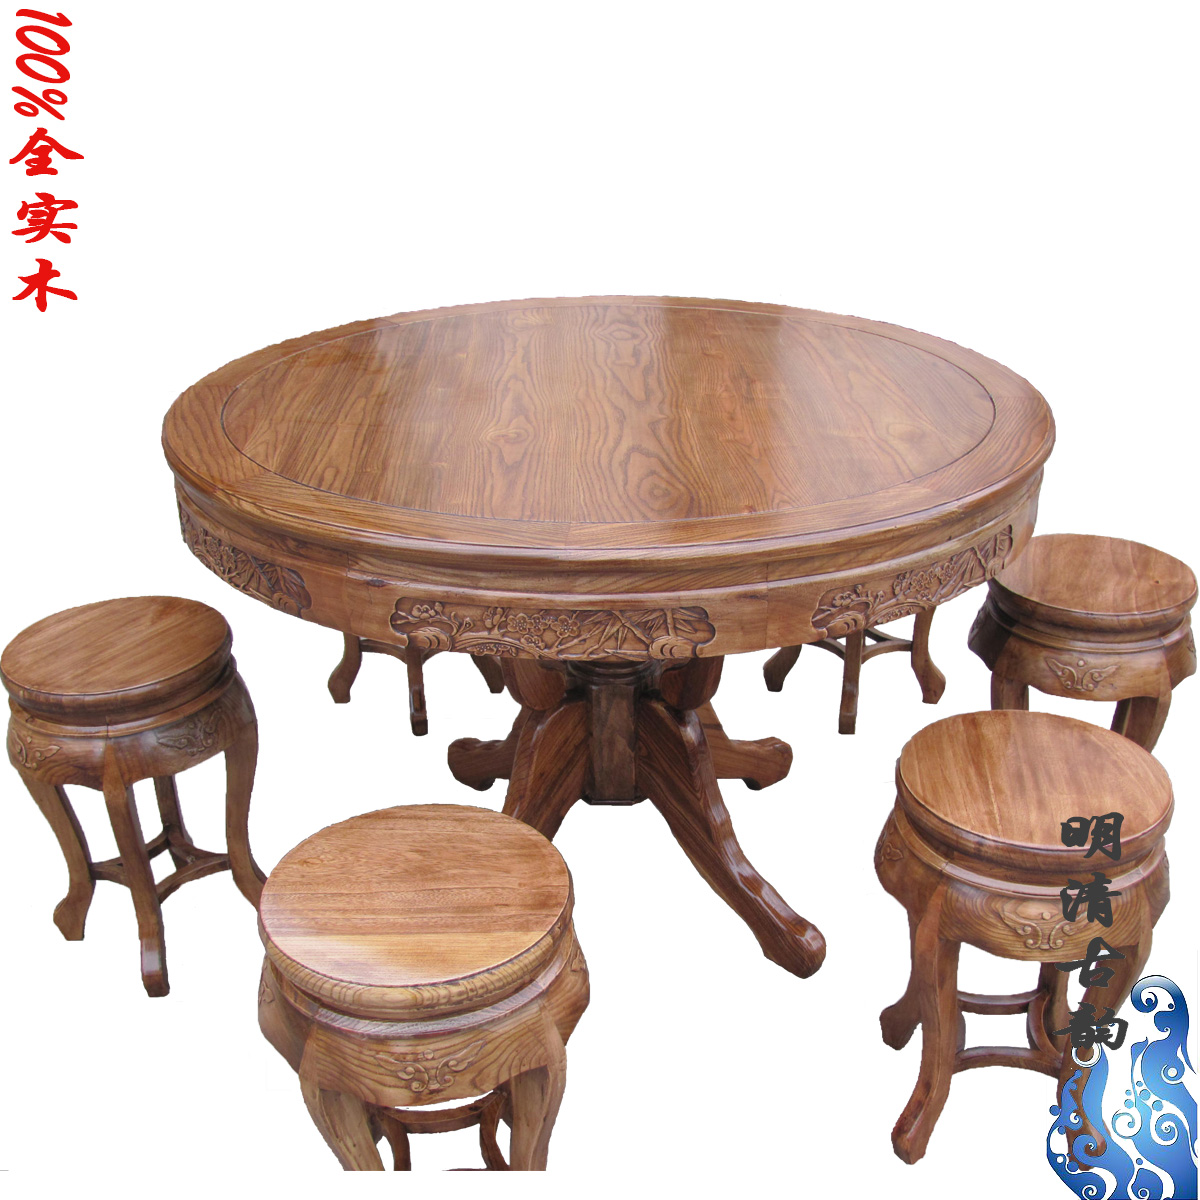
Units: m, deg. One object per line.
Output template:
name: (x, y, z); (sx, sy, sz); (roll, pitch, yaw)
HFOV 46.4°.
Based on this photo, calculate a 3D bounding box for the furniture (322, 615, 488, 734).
furniture: (-0.373, 0.100, 2.715); (0.264, 0.243, 0.211); (27, 50, 21)

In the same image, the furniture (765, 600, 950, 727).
furniture: (0.526, 0.089, 2.746); (0.279, 0.258, 0.224); (24, 41, 37)

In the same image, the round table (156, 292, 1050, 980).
round table: (0.030, 0.051, 3.302); (2.046, 0.928, 1.649); (-1, 28, 0)

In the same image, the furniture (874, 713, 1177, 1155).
furniture: (0.756, 0.607, 2.549); (0.501, 0.701, 0.528); (2, 26, 9)

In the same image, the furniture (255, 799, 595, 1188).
furniture: (-0.283, 0.662, 2.295); (0.527, 0.482, 0.506); (-9, 25, -14)

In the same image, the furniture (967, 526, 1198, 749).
furniture: (1.003, 0.086, 2.898); (0.475, 0.383, 0.366); (-2, 44, 2)
